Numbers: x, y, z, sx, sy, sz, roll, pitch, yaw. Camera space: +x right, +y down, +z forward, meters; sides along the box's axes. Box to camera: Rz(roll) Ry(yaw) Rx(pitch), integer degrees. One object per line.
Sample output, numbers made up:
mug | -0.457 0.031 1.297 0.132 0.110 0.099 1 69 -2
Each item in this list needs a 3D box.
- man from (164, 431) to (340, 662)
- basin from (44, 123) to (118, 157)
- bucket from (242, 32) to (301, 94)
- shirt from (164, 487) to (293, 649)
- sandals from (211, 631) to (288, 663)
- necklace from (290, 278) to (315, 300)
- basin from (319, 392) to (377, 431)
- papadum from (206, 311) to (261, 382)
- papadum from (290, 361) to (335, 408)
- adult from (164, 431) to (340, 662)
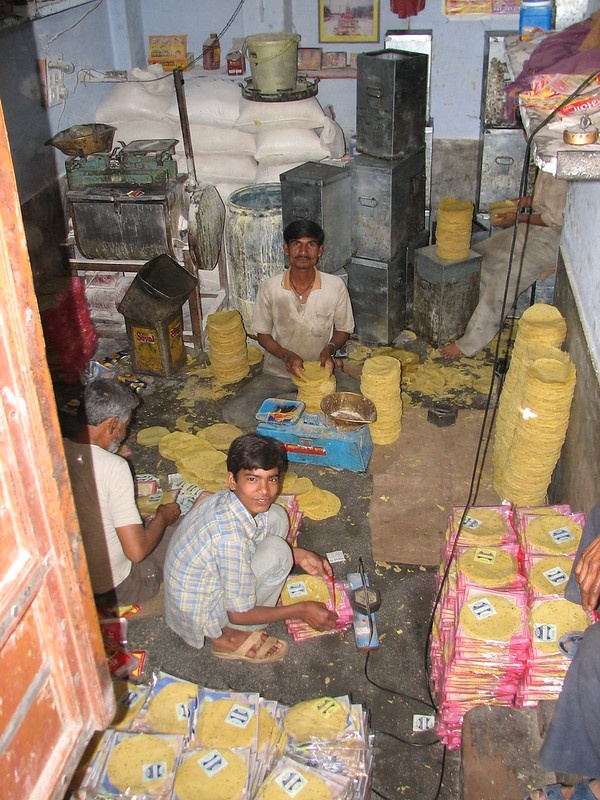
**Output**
man | -0.207 0.798 3.188 0.923 1.063 0.775 5 17 13
basin | -2.007 -2.422 5.688 0.528 0.180 0.489 -1 41 1
bucket | -0.291 -3.844 6.920 0.693 0.534 0.701 -3 41 3
shirt | -0.358 0.841 3.205 0.622 0.738 0.639 8 18 13
sandals | -0.268 1.316 3.217 0.360 0.122 0.173 2 31 3
necklace | 0.010 -0.875 4.807 0.207 0.141 0.078 0 0 0
basin | 0.369 0.099 4.580 0.427 0.223 0.342 17 32 34
papadum | -0.626 -0.479 5.686 0.418 0.630 0.434 -22 36 -17
papadum | 0.127 -0.117 4.844 0.316 0.355 0.353 -2 27 1
adult | -0.213 0.807 3.159 0.890 1.063 0.804 -8 19 -27
